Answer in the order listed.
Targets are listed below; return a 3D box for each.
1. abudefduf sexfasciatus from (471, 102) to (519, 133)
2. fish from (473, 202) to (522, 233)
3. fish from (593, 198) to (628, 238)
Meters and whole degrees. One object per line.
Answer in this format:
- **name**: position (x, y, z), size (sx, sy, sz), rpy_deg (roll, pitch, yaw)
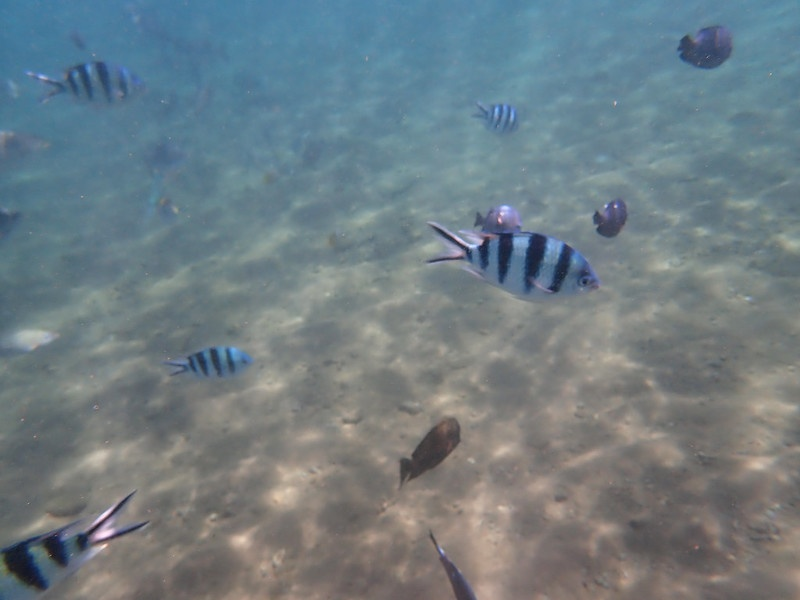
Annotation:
- **abudefduf sexfasciatus**: position (1.725, -3.212, 12.628), size (0.645, 0.641, 0.434), rpy_deg (19, 46, 24)
- **fish**: position (1.507, -1.172, 11.067), size (0.709, 0.444, 0.497), rpy_deg (-1, 28, 8)
- **fish**: position (3.476, -1.319, 11.696), size (0.575, 0.645, 0.223), rpy_deg (18, 22, 0)
